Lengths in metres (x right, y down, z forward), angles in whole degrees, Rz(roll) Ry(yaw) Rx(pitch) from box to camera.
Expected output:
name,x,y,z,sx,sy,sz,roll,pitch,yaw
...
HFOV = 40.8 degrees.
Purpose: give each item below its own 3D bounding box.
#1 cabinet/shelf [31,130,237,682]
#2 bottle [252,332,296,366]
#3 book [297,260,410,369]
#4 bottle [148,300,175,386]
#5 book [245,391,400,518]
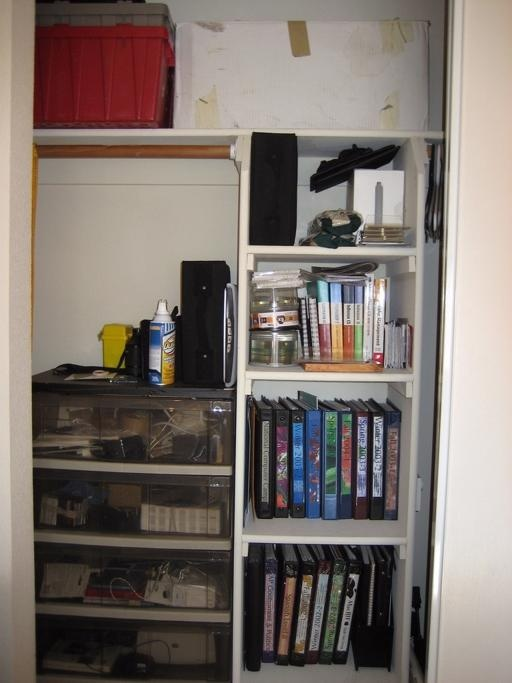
name,x,y,z,sx,sy,sz,roll,pitch,yaw
cabinet/shelf,-0.406,0.178,2.132,0.683,1.568,0.441,1,2,-2
bottle,0.049,0.014,2.056,0.099,0.071,0.106,1,1,0
book,0.268,-0.121,2.024,0.252,0.385,0.363,-1,-2,-2
bottle,-0.268,0.002,1.966,0.071,0.241,0.050,0,2,-12
book,0.196,0.219,2.176,0.522,0.493,0.297,2,-1,-5
